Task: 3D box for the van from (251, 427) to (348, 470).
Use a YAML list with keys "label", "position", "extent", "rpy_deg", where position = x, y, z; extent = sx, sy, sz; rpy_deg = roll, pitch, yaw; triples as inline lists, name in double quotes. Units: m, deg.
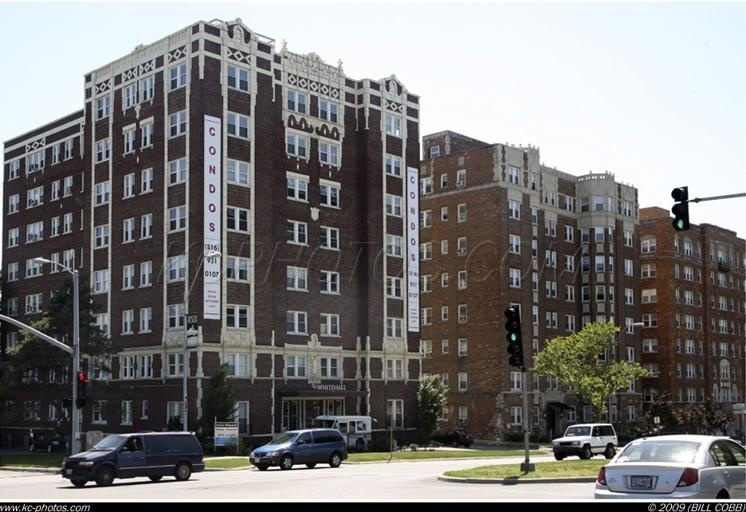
- label: "van"
  position: [-4.988, 12.793, 64.861]
  extent: [5.538, 2.082, 2.688]
  rpy_deg: [11, -19, -40]
